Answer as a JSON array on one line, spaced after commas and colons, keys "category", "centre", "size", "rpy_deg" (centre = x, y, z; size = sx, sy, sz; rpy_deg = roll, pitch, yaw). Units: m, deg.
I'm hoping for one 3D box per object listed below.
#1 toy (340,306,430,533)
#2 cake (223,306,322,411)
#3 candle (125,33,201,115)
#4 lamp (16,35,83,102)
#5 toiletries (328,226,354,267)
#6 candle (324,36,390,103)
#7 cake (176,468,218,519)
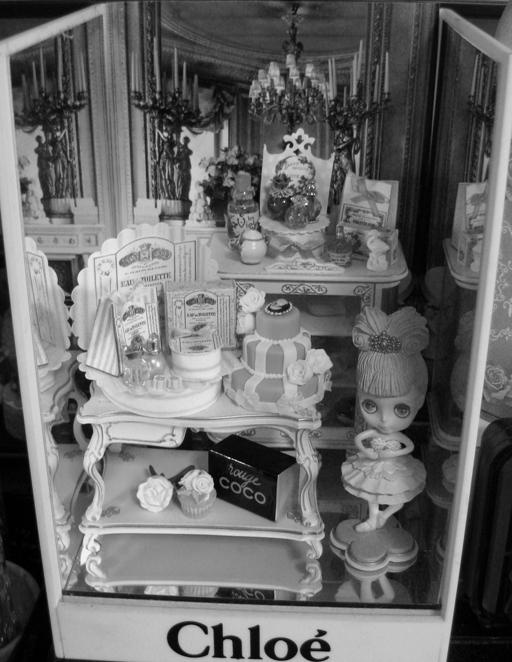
[{"category": "toy", "centre": [0.499, 0.386, 2.256], "size": [0.316, 0.949, 0.346], "rpy_deg": [5, 22, 17]}, {"category": "cake", "centre": [0.049, 0.117, 2.018], "size": [0.353, 0.312, 0.351], "rpy_deg": [-1, 17, -4]}, {"category": "candle", "centre": [-0.409, -1.116, 2.590], "size": [0.314, 0.317, 0.012], "rpy_deg": [3, 21, 11]}, {"category": "lamp", "centre": [-0.859, -1.088, 2.456], "size": [0.301, 0.259, 0.092], "rpy_deg": [-20, 28, -41]}, {"category": "toiletries", "centre": [0.350, -0.348, 2.447], "size": [0.099, 0.146, 0.187], "rpy_deg": [2, 21, 10]}, {"category": "candle", "centre": [0.436, -1.105, 2.527], "size": [0.277, 0.238, 0.035], "rpy_deg": [-5, 21, -11]}, {"category": "cake", "centre": [-0.221, 0.578, 2.184], "size": [0.154, 0.173, 0.158], "rpy_deg": [-2, 23, -8]}]
